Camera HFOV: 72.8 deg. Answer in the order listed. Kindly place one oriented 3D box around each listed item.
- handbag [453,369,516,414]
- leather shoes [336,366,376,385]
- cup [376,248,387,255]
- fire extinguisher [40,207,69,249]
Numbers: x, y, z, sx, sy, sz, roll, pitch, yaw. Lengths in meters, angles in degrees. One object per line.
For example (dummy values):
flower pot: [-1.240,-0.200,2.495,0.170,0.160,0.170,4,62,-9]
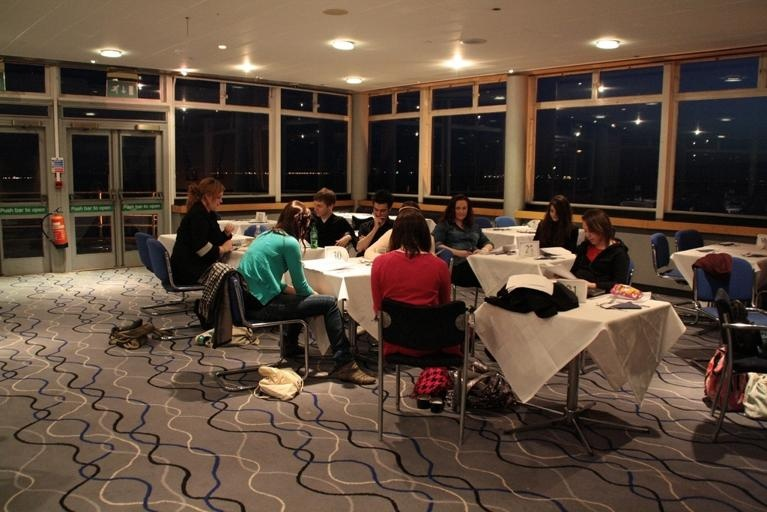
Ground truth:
handbag: [0.864,1.163,4.444,0.488,0.174,0.284,-3,27,3]
leather shoes: [-0.266,1.127,4.861,0.426,0.165,0.147,0,1,11]
cup: [-0.002,-0.046,5.570,0.069,0.062,0.067,1,5,0]
fire extinguisher: [-5.705,-0.461,9.030,0.375,0.703,0.291,-7,15,-31]
